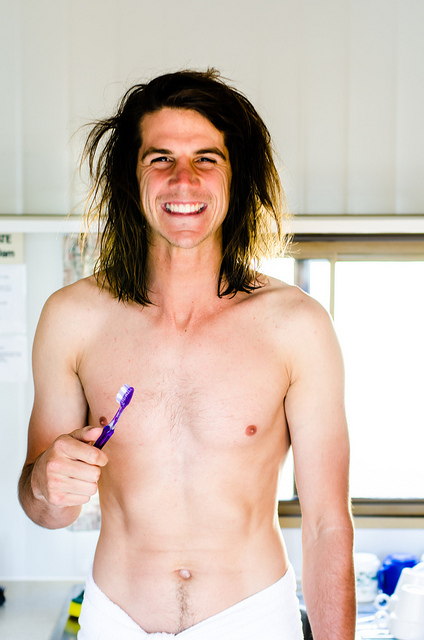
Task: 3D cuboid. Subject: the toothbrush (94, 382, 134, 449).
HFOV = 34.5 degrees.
[{"bbox_3d":[-0.131,0.127,0.950,0.020,0.093,0.093,18,37,4],"label":"toothbrush"}]
